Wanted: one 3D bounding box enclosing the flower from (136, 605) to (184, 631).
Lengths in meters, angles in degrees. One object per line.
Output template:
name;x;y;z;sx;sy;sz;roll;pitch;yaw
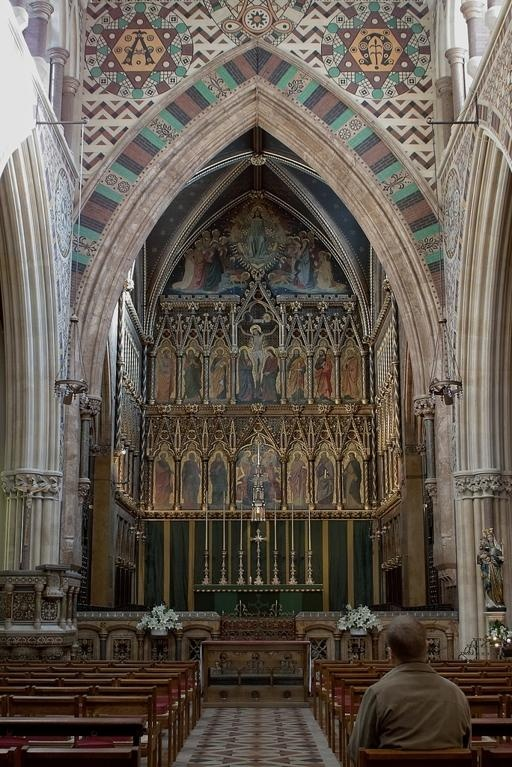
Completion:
flower;-1.754;4.338;15.361;0.534;0.405;0.576;1;-3;-21

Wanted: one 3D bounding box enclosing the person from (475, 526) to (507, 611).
person;4.127;3.317;14.852;0.423;1.368;1.047;-6;-14;14

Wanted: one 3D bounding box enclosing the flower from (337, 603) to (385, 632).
flower;1.850;4.371;15.465;0.566;0.441;0.633;-3;-7;42
